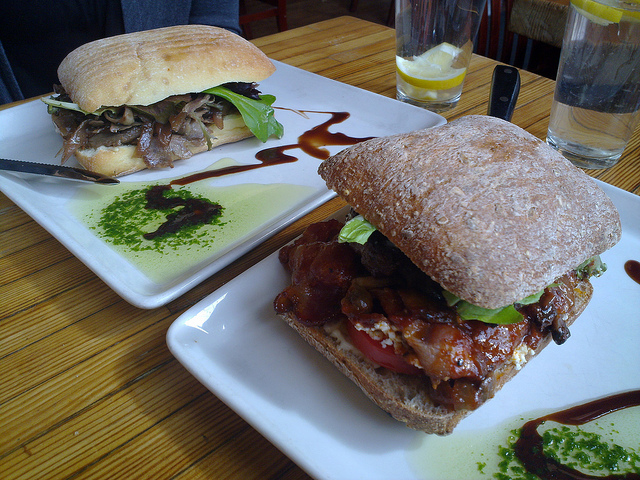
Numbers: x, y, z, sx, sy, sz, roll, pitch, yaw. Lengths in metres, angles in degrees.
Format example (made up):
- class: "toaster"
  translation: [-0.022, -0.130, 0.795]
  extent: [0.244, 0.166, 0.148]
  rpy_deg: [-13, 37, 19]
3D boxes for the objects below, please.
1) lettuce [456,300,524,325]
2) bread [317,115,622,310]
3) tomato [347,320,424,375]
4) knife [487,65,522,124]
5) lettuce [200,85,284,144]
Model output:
- class: "lettuce"
  translation: [0.439, 0.190, 1.353]
  extent: [0.123, 0.031, 0.081]
  rpy_deg: [11, 24, 9]
- class: "bread"
  translation: [0.455, -0.123, 1.492]
  extent: [0.616, 0.240, 0.638]
  rpy_deg: [-24, 46, -23]
- class: "tomato"
  translation: [0.180, 0.270, 1.429]
  extent: [0.159, 0.149, 0.048]
  rpy_deg: [24, 89, 40]
- class: "knife"
  translation: [0.800, -0.611, 2.258]
  extent: [0.135, 0.597, 0.043]
  rpy_deg: [16, 85, 17]
- class: "lettuce"
  translation: [-0.389, -0.544, 2.341]
  extent: [0.358, 0.399, 0.072]
  rpy_deg: [5, 74, -23]
